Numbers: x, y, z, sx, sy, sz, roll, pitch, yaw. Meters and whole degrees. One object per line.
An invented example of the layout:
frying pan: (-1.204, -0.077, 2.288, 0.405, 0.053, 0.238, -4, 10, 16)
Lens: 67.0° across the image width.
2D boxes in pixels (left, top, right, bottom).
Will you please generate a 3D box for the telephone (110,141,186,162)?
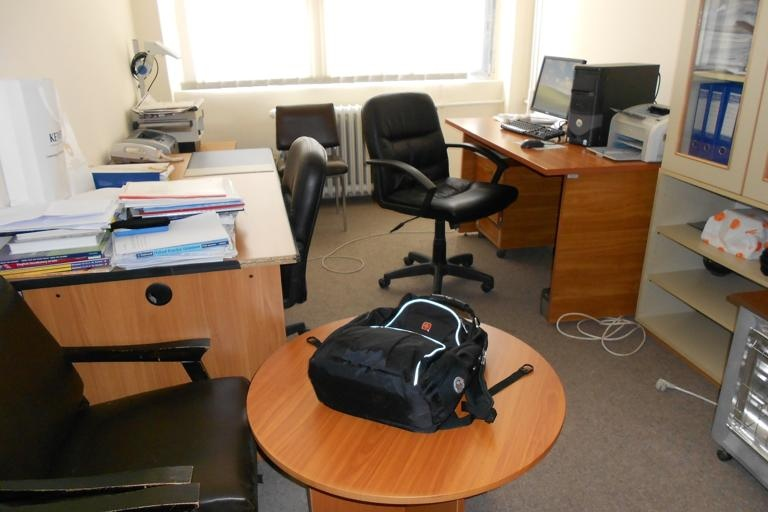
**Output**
telephone: (-1.432, -0.595, 3.454, 0.287, 0.092, 0.169, 0, 15, -8)

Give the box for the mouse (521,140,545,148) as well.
mouse: (0.923, -0.697, 3.568, 0.115, 0.038, 0.064, -5, 22, -8)

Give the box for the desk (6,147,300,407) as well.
desk: (-0.936, 0.314, 2.812, 0.902, 0.787, 1.618, -4, 27, -8)

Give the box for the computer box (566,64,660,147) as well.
computer box: (1.419, -0.959, 3.634, 0.493, 0.458, 0.267, -12, 23, -23)

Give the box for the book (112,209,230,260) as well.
book: (-0.867, -0.073, 2.339, 0.426, 0.079, 0.263, -13, 28, -21)

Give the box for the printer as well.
printer: (1.390, -0.670, 3.271, 0.447, 0.199, 0.306, -16, 27, -22)

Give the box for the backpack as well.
backpack: (0.117, 0.337, 2.030, 0.651, 0.200, 0.458, 10, 30, 32)
